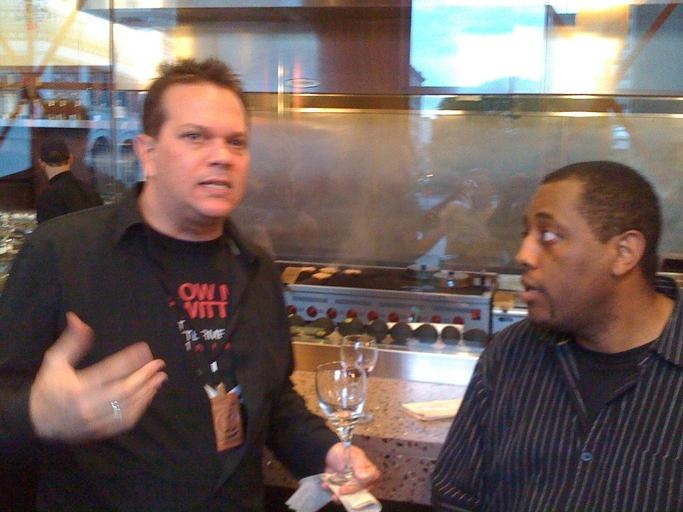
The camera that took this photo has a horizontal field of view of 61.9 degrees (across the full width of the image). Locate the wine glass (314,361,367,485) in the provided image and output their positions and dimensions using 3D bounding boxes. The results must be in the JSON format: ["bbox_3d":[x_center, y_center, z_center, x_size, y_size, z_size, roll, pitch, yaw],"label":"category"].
[{"bbox_3d":[-0.004,0.337,1.172,0.103,0.233,0.237,1,9,0],"label":"wine glass"}]

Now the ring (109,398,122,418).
[{"bbox_3d":[-0.257,0.171,0.643,0.013,0.020,0.006,7,3,-4],"label":"ring"}]
